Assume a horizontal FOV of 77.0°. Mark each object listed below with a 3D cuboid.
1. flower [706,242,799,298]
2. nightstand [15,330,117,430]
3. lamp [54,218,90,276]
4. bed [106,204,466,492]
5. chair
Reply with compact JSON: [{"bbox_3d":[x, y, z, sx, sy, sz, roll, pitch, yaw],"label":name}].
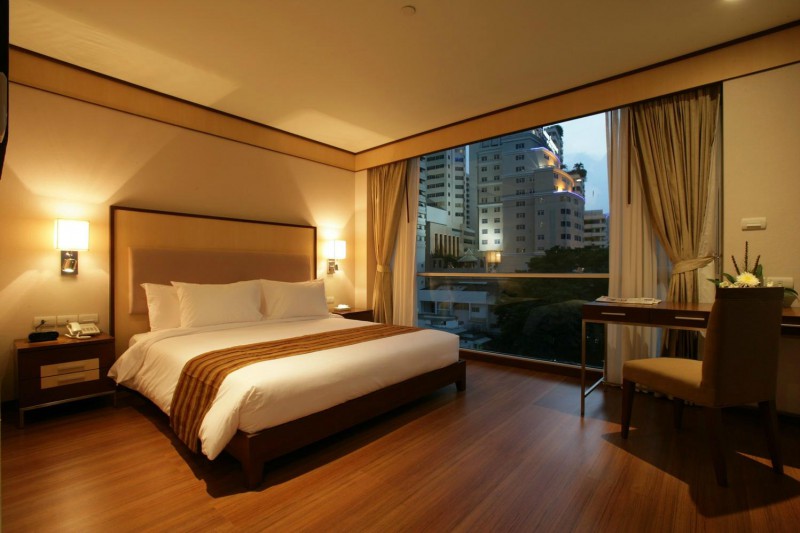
[{"bbox_3d":[3.252,0.093,4.762,0.760,0.458,0.667,-3,-2,7],"label":"flower"},{"bbox_3d":[-3.397,1.013,5.096,0.823,0.727,0.593,-2,16,-39],"label":"nightstand"},{"bbox_3d":[-3.373,-0.197,5.181,0.290,0.599,0.167,-8,14,-35],"label":"lamp"},{"bbox_3d":[-1.455,0.684,5.222,2.679,1.912,2.906,-1,0,41],"label":"bed"},{"bbox_3d":[2.680,0.894,4.499,0.898,1.527,1.030,-4,6,-20],"label":"chair"}]
